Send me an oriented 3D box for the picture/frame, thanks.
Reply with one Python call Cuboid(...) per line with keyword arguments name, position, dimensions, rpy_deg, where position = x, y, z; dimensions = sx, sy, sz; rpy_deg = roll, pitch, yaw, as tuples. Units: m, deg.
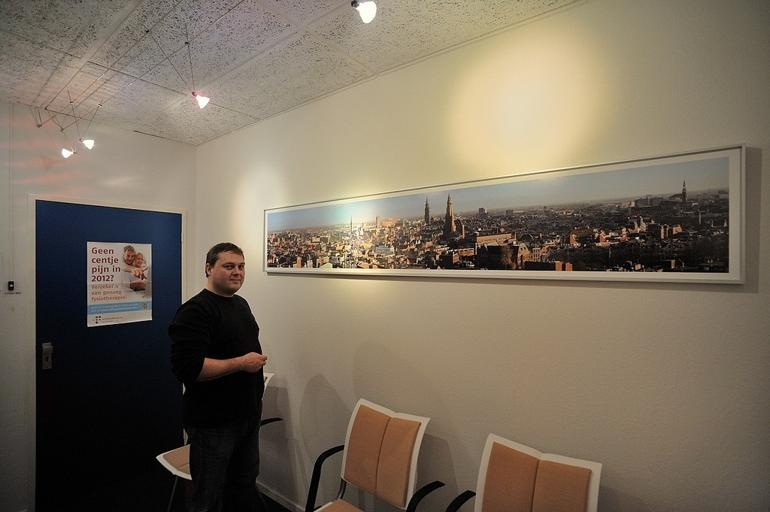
Cuboid(name="picture/frame", position=(0.514, -0.200, 3.549), dimensions=(3.397, 0.716, 0.039), rpy_deg=(-1, -4, 29))
